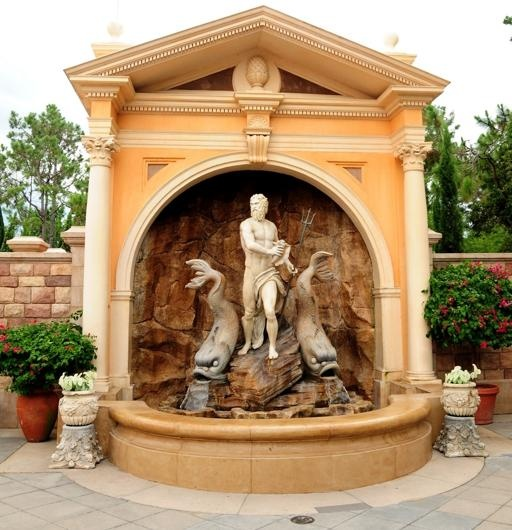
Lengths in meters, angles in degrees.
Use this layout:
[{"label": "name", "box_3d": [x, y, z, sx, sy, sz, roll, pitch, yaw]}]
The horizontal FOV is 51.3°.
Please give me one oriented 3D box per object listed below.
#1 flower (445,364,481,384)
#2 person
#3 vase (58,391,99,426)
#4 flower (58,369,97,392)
[{"label": "flower", "box_3d": [2.387, 1.251, 6.191, 0.352, 0.232, 0.334, 1, 1, 18]}, {"label": "person", "box_3d": [0.088, 0.142, 7.071, 0.639, 2.140, 0.564, 0, 1, 4]}, {"label": "vase", "box_3d": [-1.877, 1.508, 5.733, 0.387, 0.299, 0.372, 0, -1, 0]}, {"label": "flower", "box_3d": [-1.959, 1.263, 5.874, 0.355, 0.199, 0.492, 0, 1, -16]}]
